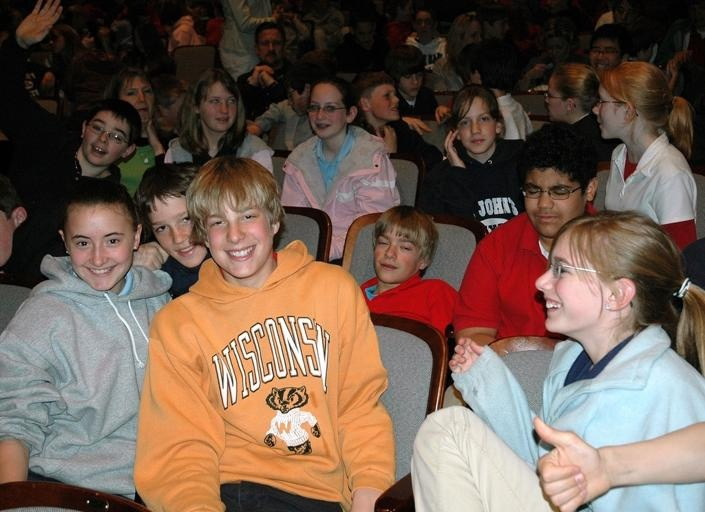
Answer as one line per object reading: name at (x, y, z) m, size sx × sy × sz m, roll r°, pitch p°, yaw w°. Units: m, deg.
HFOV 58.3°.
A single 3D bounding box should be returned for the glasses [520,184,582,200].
glasses at (0.921, -0.299, 2.907) m, size 0.246 × 0.091 × 0.083 m, roll -4°, pitch 1°, yaw 22°
